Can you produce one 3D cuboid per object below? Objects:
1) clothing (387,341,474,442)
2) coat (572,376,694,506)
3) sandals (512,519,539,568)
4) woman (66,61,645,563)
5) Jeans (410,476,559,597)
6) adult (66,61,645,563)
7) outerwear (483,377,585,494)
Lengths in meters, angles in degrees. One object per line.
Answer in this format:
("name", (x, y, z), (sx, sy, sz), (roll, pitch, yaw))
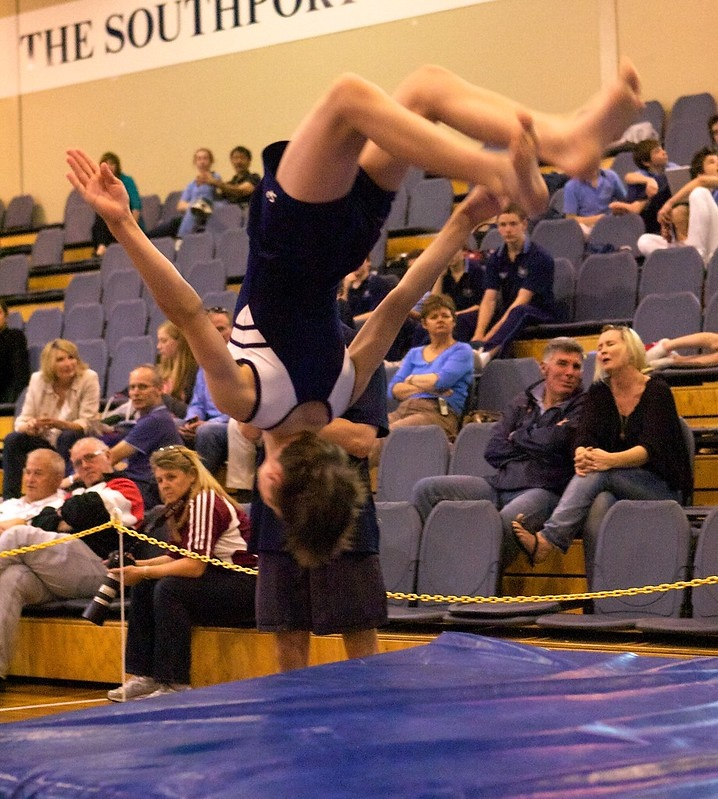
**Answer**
("clothing", (0.311, -0.023, 5.271), (0.271, 0.448, 0.365), (20, -10, -35))
("coat", (0.950, 0.115, 4.249), (0.331, 0.437, 0.457), (-6, -6, 35))
("sandals", (0.570, 0.485, 4.174), (0.071, 0.166, 0.060), (-10, 25, 44))
("woman", (-0.135, -0.162, 2.680), (0.756, 0.624, 1.284), (-16, 1, -39))
("Jeans", (0.404, 0.454, 4.365), (0.327, 0.428, 0.162), (5, -3, 21))
("adult", (-0.176, -0.153, 2.676), (0.756, 0.624, 1.284), (-16, 1, -39))
("outerwear", (0.639, 0.145, 4.503), (0.248, 0.431, 0.337), (29, -13, -38))
